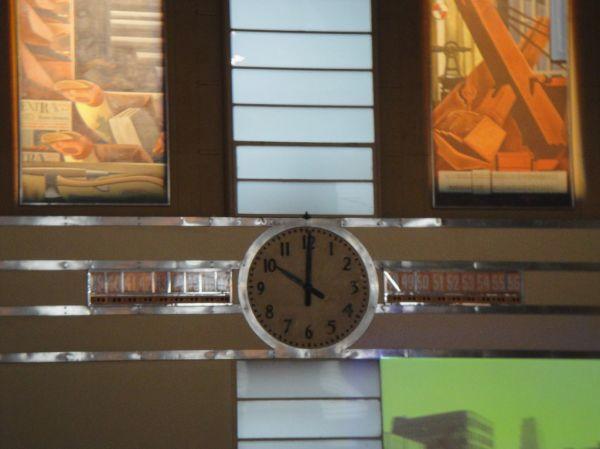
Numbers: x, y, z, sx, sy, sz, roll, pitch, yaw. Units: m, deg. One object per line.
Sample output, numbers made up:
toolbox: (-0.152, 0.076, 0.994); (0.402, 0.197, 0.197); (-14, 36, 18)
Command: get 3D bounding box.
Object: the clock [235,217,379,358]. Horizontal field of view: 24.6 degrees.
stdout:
clock: (0.002, 0.607, 12.319); (1.044, 1.241, 0.093); (1, 2, 1)
